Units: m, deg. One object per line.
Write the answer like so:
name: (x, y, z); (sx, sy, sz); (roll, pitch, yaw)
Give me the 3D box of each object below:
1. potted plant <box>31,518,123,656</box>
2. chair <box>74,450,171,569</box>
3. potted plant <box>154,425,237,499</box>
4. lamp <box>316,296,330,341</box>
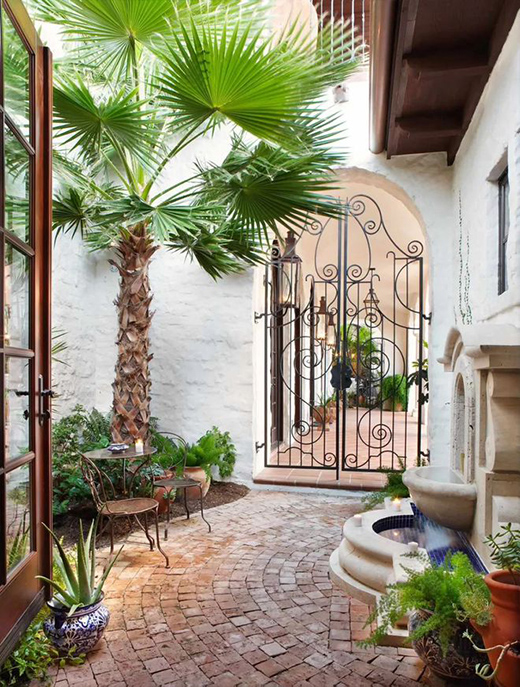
potted plant: (-0.806, 1.142, 2.424); (0.269, 0.433, 0.295); (-20, -11, 27)
chair: (-0.929, 1.104, 3.628); (0.509, 0.779, 0.456); (-5, -5, -22)
potted plant: (-0.745, 1.252, 5.325); (0.759, 0.574, 0.806); (-3, -13, -30)
lamp: (0.957, -0.370, 8.186); (0.247, 0.717, 0.248); (-3, 9, -31)
